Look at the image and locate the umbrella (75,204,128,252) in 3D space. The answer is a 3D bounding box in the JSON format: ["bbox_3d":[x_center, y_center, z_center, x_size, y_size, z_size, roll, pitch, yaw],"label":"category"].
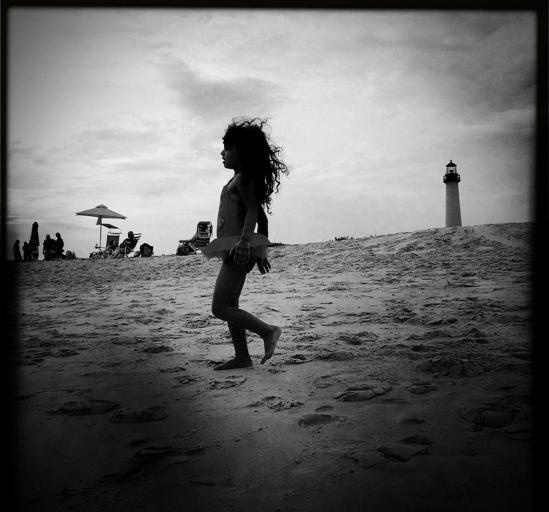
[{"bbox_3d":[-4.866,-0.715,13.474,1.287,1.498,1.405,2,0,32],"label":"umbrella"}]

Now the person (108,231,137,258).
[{"bbox_3d":[-4.637,-0.295,15.002,1.030,0.660,0.521,0,-4,25],"label":"person"}]

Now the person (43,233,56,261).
[{"bbox_3d":[-6.476,-0.249,13.777,0.189,0.714,0.451,-3,4,11],"label":"person"}]

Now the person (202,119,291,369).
[{"bbox_3d":[-0.221,-0.111,3.457,0.493,1.839,0.653,-2,4,22],"label":"person"}]
